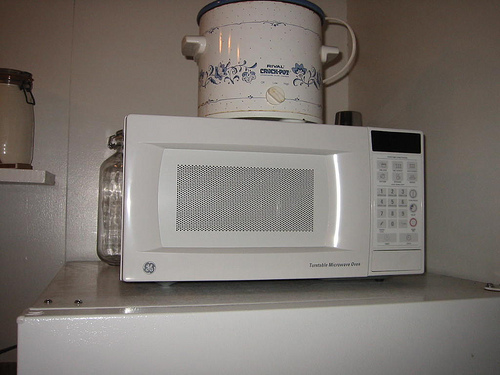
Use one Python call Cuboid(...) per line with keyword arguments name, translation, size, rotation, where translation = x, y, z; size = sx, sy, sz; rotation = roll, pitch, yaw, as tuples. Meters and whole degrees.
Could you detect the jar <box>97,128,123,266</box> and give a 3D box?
Cuboid(name="jar", translation=(-0.409, 0.016, 1.181), size=(0.104, 0.339, 0.110), rotation=(4, -2, 0))
